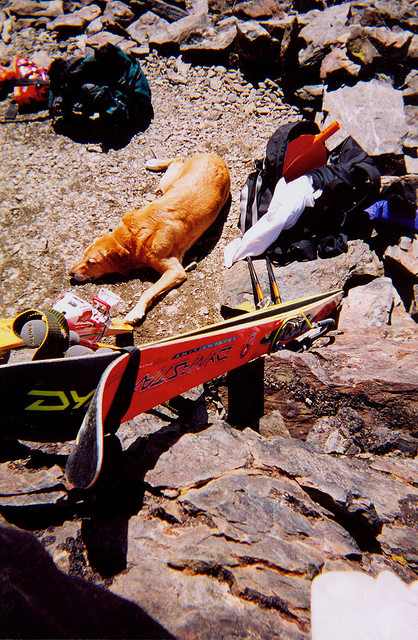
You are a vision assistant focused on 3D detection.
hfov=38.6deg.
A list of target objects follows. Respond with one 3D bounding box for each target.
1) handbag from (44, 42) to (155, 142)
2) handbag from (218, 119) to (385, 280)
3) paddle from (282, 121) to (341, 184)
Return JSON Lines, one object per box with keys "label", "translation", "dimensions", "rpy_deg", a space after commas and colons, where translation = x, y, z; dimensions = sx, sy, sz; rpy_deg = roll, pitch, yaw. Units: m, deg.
{"label": "handbag", "translation": [-1.171, -2.336, 6.210], "dimensions": [1.183, 1.014, 0.443], "rpy_deg": [2, 2, -7]}
{"label": "handbag", "translation": [0.717, -1.022, 5.283], "dimensions": [1.662, 0.615, 1.073], "rpy_deg": [-43, 75, -12]}
{"label": "paddle", "translation": [0.862, -1.455, 5.297], "dimensions": [0.308, 0.709, 0.135], "rpy_deg": [42, 40, -7]}
